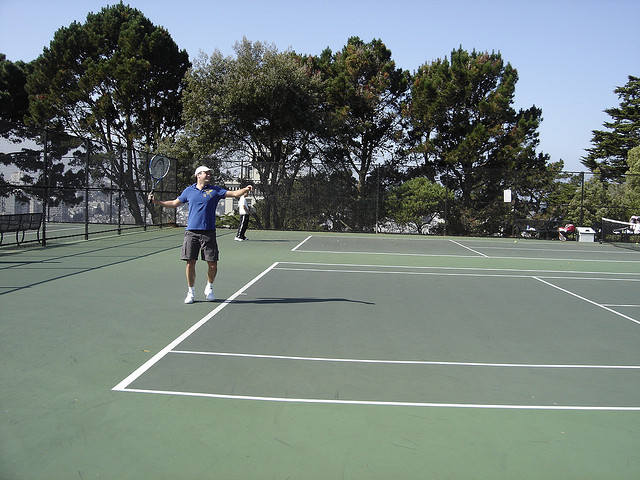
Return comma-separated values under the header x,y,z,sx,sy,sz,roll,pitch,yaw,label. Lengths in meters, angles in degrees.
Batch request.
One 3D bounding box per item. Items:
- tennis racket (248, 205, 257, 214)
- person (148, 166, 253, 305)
x,y,z,sx,sy,sz,roll,pitch,yaw,label
-3.628,-1.675,26.492,0.317,0.349,0.085,4,42,8,tennis racket
-1.850,-0.063,7.994,1.040,2.206,0.566,0,6,-9,person
